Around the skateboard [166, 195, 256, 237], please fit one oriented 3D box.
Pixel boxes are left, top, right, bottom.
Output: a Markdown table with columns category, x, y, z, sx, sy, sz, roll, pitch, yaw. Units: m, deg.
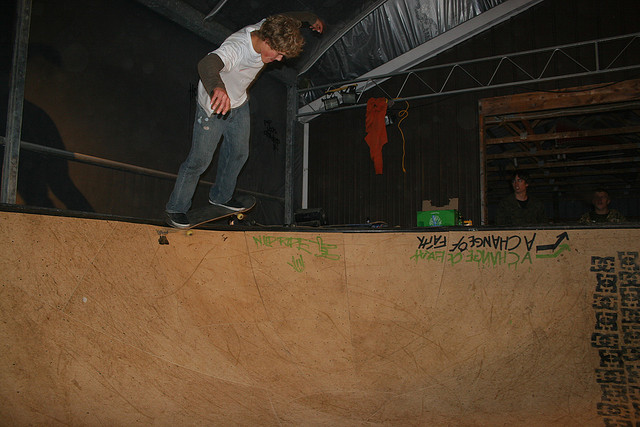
| category | x | y | z | sx | sy | sz | roll | pitch | yaw |
| --- | --- | --- | --- | --- | --- | --- | --- | --- | --- |
| skateboard | -1.313 | -0.018 | 6.974 | 0.372 | 0.196 | 1.265 | 27 | 34 | 30 |

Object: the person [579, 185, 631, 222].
| category | x | y | z | sx | sy | sz | roll | pitch | yaw |
| --- | --- | --- | --- | --- | --- | --- | --- | --- | --- |
| person | 4.753 | -0.069 | 9.608 | 0.893 | 0.690 | 0.382 | -6 | -24 | 41 |

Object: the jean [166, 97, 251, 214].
| category | x | y | z | sx | sy | sz | roll | pitch | yaw |
| --- | --- | --- | --- | --- | --- | --- | --- | --- | --- |
| jean | -1.281 | -0.718 | 6.924 | 0.801 | 1.518 | 0.646 | 13 | -15 | -40 |
